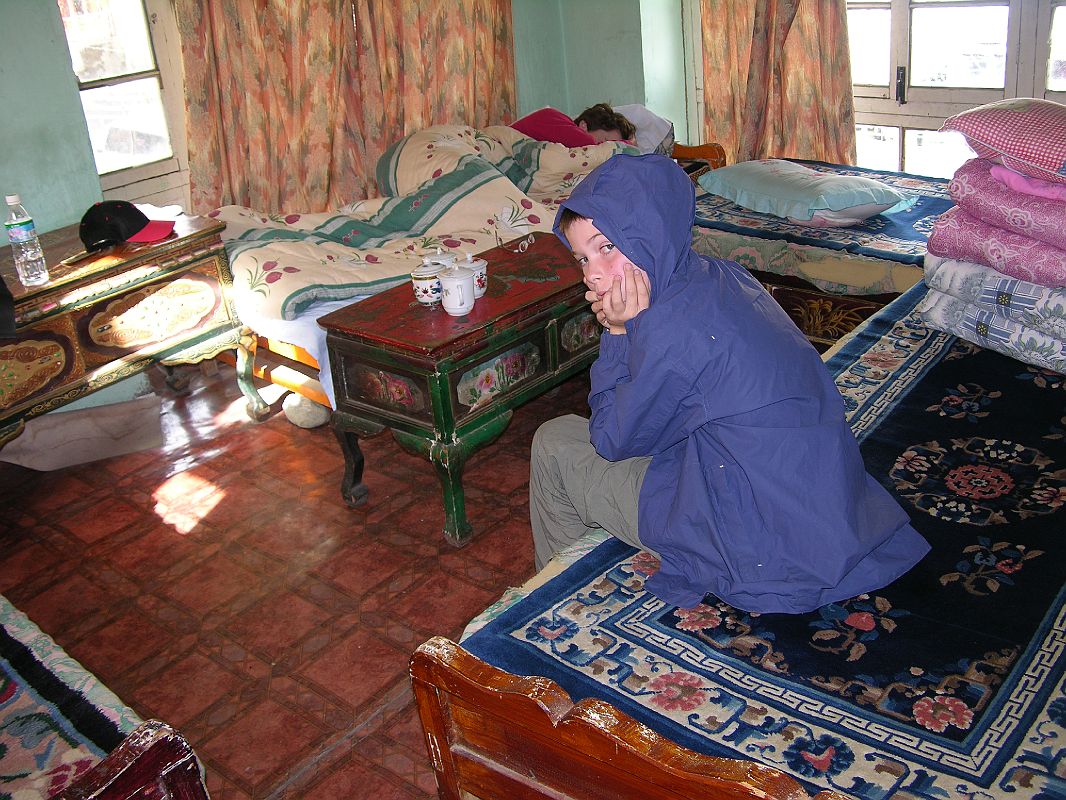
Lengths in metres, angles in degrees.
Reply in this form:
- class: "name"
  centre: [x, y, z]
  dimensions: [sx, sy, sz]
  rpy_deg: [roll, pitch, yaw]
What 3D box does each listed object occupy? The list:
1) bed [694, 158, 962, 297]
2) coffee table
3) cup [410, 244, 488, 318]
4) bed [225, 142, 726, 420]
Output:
- class: "bed"
  centre: [1.246, -0.752, 3.353]
  dimensions: [0.890, 0.244, 1.279]
  rpy_deg: [22, 33, 37]
- class: "coffee table"
  centre: [-0.144, -0.105, 3.046]
  dimensions: [0.685, 0.632, 1.210]
  rpy_deg: [13, 30, 38]
- class: "cup"
  centre: [-0.313, -0.428, 2.680]
  dimensions: [0.235, 0.120, 0.305]
  rpy_deg: [-13, 20, -24]
- class: "bed"
  centre: [-0.403, -0.577, 3.721]
  dimensions: [1.910, 0.431, 1.412]
  rpy_deg: [-26, 35, -36]
